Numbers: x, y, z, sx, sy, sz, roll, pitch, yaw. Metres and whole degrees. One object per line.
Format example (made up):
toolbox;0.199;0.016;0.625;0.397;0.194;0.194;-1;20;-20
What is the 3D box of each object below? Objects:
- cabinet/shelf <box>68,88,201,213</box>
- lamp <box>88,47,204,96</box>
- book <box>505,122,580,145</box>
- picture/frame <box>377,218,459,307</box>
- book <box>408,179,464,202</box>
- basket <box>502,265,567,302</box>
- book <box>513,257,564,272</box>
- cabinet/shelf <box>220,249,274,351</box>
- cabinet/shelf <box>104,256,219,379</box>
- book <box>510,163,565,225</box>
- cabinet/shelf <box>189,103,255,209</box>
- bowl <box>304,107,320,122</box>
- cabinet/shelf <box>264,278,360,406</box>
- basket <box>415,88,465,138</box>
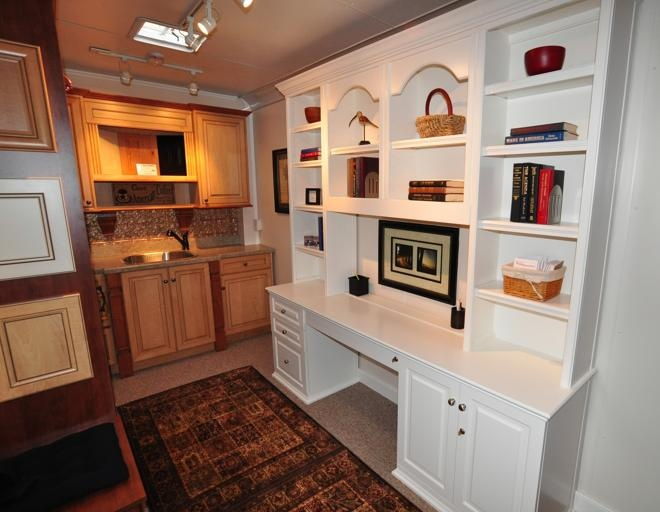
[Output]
cabinet/shelf;-1.766;-0.911;4.289;1.071;1.006;0.311;-5;2;-30
lamp;-1.505;-1.501;3.819;0.877;0.287;0.708;-6;11;-27
book;1.098;-0.631;2.362;0.349;0.095;0.157;2;10;18
picture/frame;0.646;0.040;3.250;0.048;0.507;0.599;-10;14;-40
book;0.648;-0.397;2.794;0.197;0.091;0.197;-6;10;-37
basket;1.121;0.129;2.539;0.207;0.173;0.271;-8;13;-37
book;1.154;0.044;2.505;0.123;0.054;0.161;6;8;39
cabinet/shelf;-0.970;0.344;4.871;0.579;0.989;0.445;-10;26;-25
cabinet/shelf;-1.560;0.561;4.147;0.982;0.922;0.408;-8;11;-40
book;1.117;-0.302;2.562;0.392;0.384;0.289;-6;10;-45
cabinet/shelf;-1.199;-1.014;4.818;0.630;0.994;0.519;-6;12;-28
bowl;-0.138;-1.126;3.655;0.126;0.094;0.125;0;13;0
cabinet/shelf;-0.182;0.610;4.238;0.816;1.204;0.915;-8;15;-33
basket;0.665;-0.887;2.820;0.312;0.286;0.311;-7;12;-3
